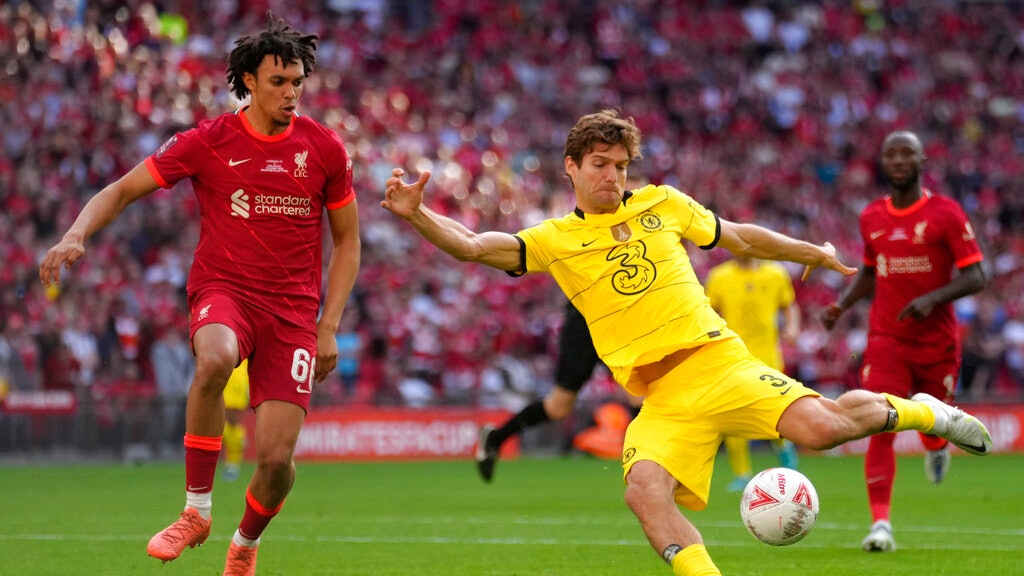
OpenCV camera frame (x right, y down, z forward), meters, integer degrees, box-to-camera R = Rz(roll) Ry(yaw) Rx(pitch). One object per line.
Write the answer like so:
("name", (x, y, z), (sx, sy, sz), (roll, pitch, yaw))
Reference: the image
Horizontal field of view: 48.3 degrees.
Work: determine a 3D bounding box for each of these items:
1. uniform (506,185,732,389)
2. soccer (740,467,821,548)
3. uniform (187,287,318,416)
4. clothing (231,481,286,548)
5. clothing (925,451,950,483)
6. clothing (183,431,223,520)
("uniform", (1.047, 0.163, 12.895), (2.821, 1.907, 0.971), (-24, -4, -15))
("soccer", (2.813, 2.178, 11.940), (0.840, 0.788, 0.809), (7, 17, 26))
("uniform", (-2.645, 0.600, 11.737), (1.355, 1.135, 0.722), (24, -36, -24))
("clothing", (-2.650, 2.396, 11.801), (0.326, 0.872, 0.301), (24, 35, 1))
("clothing", (5.382, 2.200, 14.436), (0.280, 0.441, 0.180), (1, 26, 0))
("clothing", (-3.193, 1.928, 11.827), (0.339, 0.864, 0.278), (0, -5, -14))
